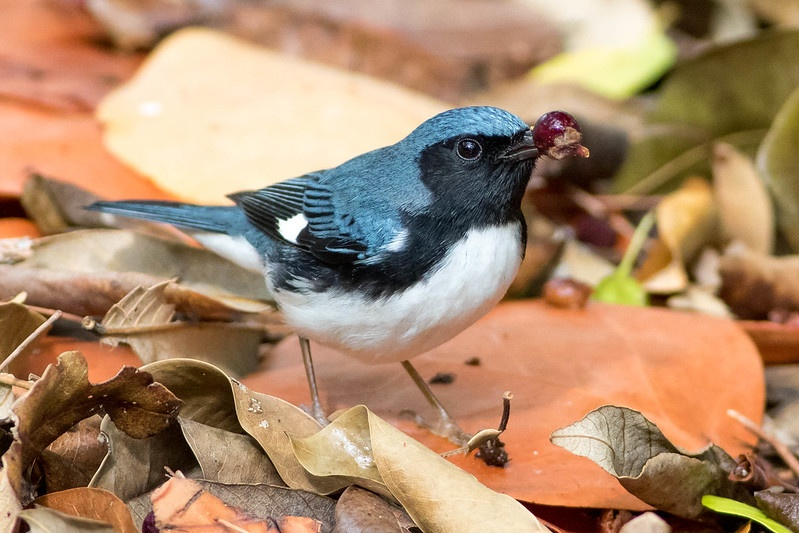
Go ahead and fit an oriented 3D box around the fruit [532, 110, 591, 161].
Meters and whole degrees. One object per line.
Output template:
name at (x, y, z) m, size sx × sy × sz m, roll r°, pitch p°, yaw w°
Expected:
fruit at (0.789, -0.621, 4.090) m, size 0.293 × 0.194 × 0.206 m, roll 22°, pitch 33°, yaw 22°
